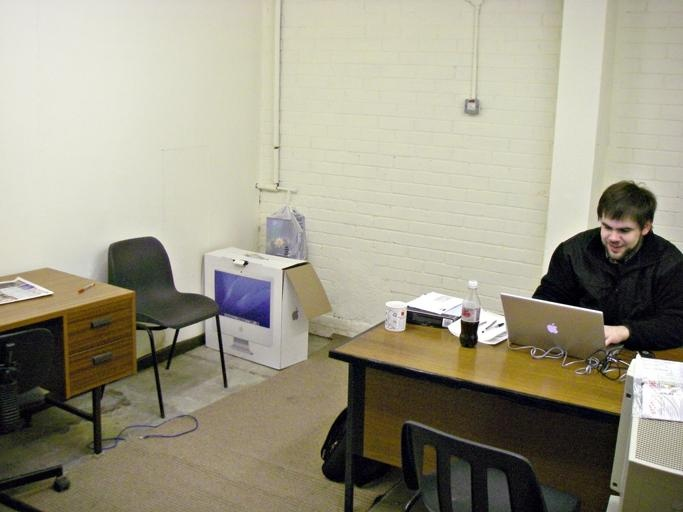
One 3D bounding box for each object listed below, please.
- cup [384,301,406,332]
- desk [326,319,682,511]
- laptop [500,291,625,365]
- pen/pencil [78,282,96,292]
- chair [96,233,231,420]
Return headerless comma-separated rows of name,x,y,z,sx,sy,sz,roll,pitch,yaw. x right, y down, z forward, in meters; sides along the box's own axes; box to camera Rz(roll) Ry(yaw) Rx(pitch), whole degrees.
cup,0.258,0.294,2.626,0.126,0.130,0.125,1,6,0
desk,0.537,0.610,2.203,0.972,0.593,0.802,8,14,32
laptop,0.892,0.208,2.218,0.408,0.284,0.291,9,30,34
pen/pencil,-1.418,0.174,2.990,0.018,0.014,0.100,3,18,17
chair,-1.180,0.441,3.618,0.633,0.976,0.618,13,15,21
